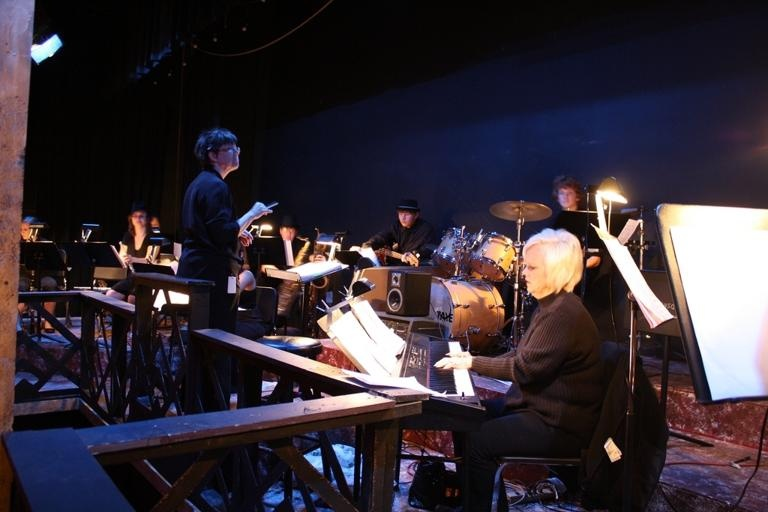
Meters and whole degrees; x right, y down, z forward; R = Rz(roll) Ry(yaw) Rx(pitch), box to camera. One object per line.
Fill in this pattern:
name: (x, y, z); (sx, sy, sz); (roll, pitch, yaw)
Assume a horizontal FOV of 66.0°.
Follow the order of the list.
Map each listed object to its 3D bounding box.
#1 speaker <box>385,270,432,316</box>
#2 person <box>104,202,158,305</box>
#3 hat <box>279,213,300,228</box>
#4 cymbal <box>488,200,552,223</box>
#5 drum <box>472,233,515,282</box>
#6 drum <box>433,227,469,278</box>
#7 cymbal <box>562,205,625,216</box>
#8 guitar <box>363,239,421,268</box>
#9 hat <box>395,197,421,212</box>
speaker: (0.221, 0.407, 5.992); (0.426, 0.570, 0.533); (3, -3, -17)
person: (-3.333, -0.075, 7.854); (0.541, 1.236, 1.705); (1, 0, -21)
hat: (-1.530, -0.527, 9.542); (0.362, 0.212, 0.418); (1, 4, -2)
cymbal: (1.603, -0.530, 7.009); (0.563, 0.304, 0.520); (1, -1, -26)
drum: (1.252, 0.054, 6.687); (0.520, 0.513, 0.396); (14, 42, 17)
drum: (0.827, -0.015, 7.166); (0.420, 0.419, 0.427); (35, -30, -4)
cymbal: (2.123, -0.458, 6.098); (0.469, 0.105, 0.303); (3, 7, 25)
guitar: (0.066, -0.003, 8.067); (0.713, 0.351, 0.118); (17, 20, 41)
hat: (0.388, -0.688, 8.359); (0.227, 0.105, 0.282); (0, -8, 35)
